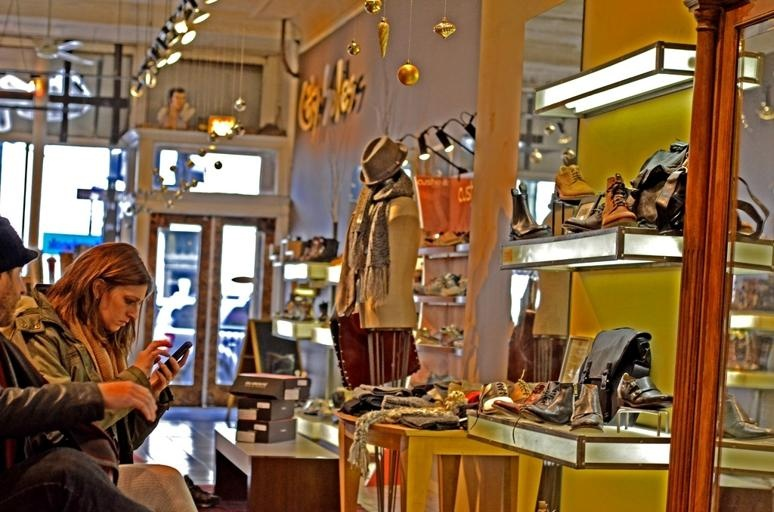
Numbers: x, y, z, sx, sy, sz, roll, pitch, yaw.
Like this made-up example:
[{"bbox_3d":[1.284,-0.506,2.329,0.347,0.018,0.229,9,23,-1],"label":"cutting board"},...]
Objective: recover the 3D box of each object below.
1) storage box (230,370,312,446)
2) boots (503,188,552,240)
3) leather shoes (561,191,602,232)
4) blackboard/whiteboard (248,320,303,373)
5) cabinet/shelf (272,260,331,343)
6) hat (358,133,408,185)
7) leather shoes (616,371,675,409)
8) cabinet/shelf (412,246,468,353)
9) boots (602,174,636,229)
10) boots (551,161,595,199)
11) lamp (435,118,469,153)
[{"bbox_3d":[-0.871,1.093,6.205,0.558,0.495,0.444,3,-4,-28],"label":"storage box"},{"bbox_3d":[0.712,-0.212,4.355,0.268,0.272,0.167,5,-1,35],"label":"boots"},{"bbox_3d":[0.985,-0.203,4.026,0.323,0.145,0.112,0,-6,-43],"label":"leather shoes"},{"bbox_3d":[-1.264,1.015,9.305,0.536,0.626,0.238,7,-21,-39],"label":"blackboard/whiteboard"},{"bbox_3d":[-0.910,0.497,9.078,0.340,0.844,0.965,0,-2,-15],"label":"cabinet/shelf"},{"bbox_3d":[-0.031,-0.607,5.349,0.298,0.295,0.182,1,-6,8],"label":"hat"},{"bbox_3d":[1.166,0.617,3.736,0.122,0.095,0.220,5,-8,-29],"label":"leather shoes"},{"bbox_3d":[0.405,0.320,6.094,0.247,0.657,0.774,1,-5,-7],"label":"cabinet/shelf"},{"bbox_3d":[1.067,-0.257,3.806,0.149,0.266,0.147,0,-6,16],"label":"boots"},{"bbox_3d":[0.941,-0.374,4.203,0.100,0.119,0.257,-3,2,-13],"label":"boots"},{"bbox_3d":[0.522,-0.946,6.469,0.282,0.106,0.273,6,1,-9],"label":"lamp"}]
